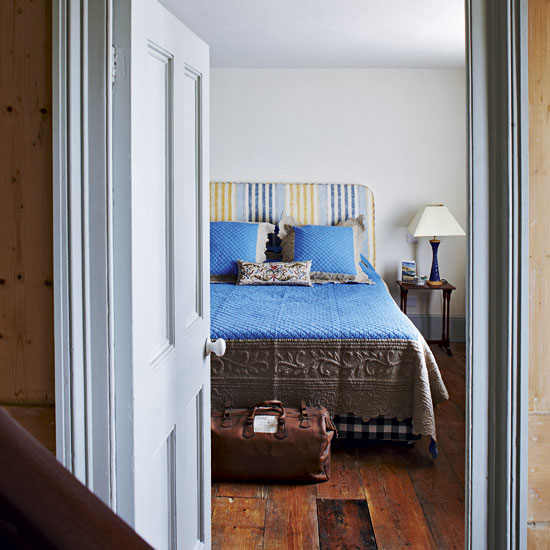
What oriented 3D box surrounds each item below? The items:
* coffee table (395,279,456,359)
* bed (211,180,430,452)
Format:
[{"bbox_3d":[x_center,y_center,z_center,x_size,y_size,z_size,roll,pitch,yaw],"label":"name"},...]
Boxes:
[{"bbox_3d":[1.155,0.333,4.582,0.404,0.809,0.532,-1,3,3],"label":"coffee table"},{"bbox_3d":[0.146,-0.020,3.775,1.272,1.271,2.303,2,15,-6],"label":"bed"}]
